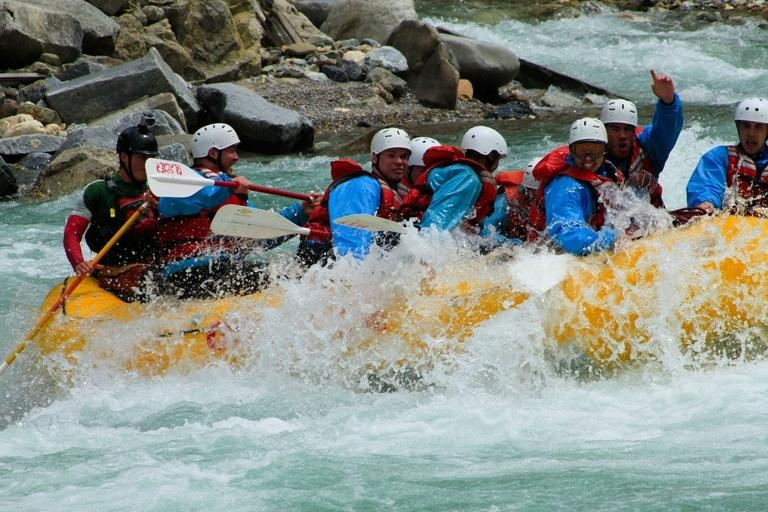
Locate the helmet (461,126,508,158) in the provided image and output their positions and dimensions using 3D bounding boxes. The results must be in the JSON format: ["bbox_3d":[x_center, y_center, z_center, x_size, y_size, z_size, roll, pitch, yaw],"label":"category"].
[{"bbox_3d":[0.862,-1.040,7.899,0.389,0.199,0.258,21,4,-10],"label":"helmet"}]

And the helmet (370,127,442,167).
[{"bbox_3d":[0.184,-0.944,7.687,0.553,0.175,0.349,7,8,12],"label":"helmet"}]

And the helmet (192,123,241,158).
[{"bbox_3d":[-1.479,-1.000,7.790,0.447,0.269,0.283,2,-10,-4],"label":"helmet"}]

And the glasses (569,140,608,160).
[{"bbox_3d":[1.659,-0.871,7.279,0.201,0.191,0.084,1,66,10],"label":"glasses"}]

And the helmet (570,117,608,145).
[{"bbox_3d":[1.664,-1.046,7.295,0.249,0.259,0.235,-4,47,5],"label":"helmet"}]
